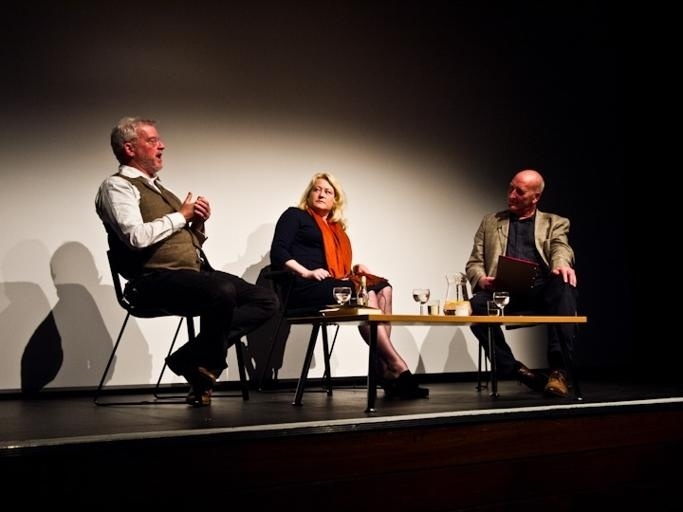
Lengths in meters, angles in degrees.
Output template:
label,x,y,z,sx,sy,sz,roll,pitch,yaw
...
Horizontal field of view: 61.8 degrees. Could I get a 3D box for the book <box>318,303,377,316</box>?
label,x,y,z,sx,sy,sz,roll,pitch,yaw
book,0.065,0.262,2.773,0.252,0.057,0.517,4,-6,-29

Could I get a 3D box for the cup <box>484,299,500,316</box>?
label,x,y,z,sx,sy,sz,roll,pitch,yaw
cup,0.866,0.294,3.284,0.095,0.104,0.081,-1,1,1

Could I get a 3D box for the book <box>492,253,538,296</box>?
label,x,y,z,sx,sy,sz,roll,pitch,yaw
book,0.992,0.106,3.280,0.197,0.203,0.195,1,-5,-1

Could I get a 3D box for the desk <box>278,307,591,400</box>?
label,x,y,z,sx,sy,sz,roll,pitch,yaw
desk,0.440,0.563,3.241,1.525,0.543,1.233,3,-5,-24

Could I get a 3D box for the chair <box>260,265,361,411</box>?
label,x,y,z,sx,sy,sz,roll,pitch,yaw
chair,-0.265,0.538,3.731,0.481,0.568,0.736,7,-14,5

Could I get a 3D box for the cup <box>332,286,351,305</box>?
label,x,y,z,sx,sy,sz,roll,pitch,yaw
cup,0.004,0.195,2.838,0.075,0.097,0.079,-2,1,0

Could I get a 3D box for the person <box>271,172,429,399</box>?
label,x,y,z,sx,sy,sz,roll,pitch,yaw
person,0.025,0.151,3.662,0.955,1.581,0.664,-18,-22,38
